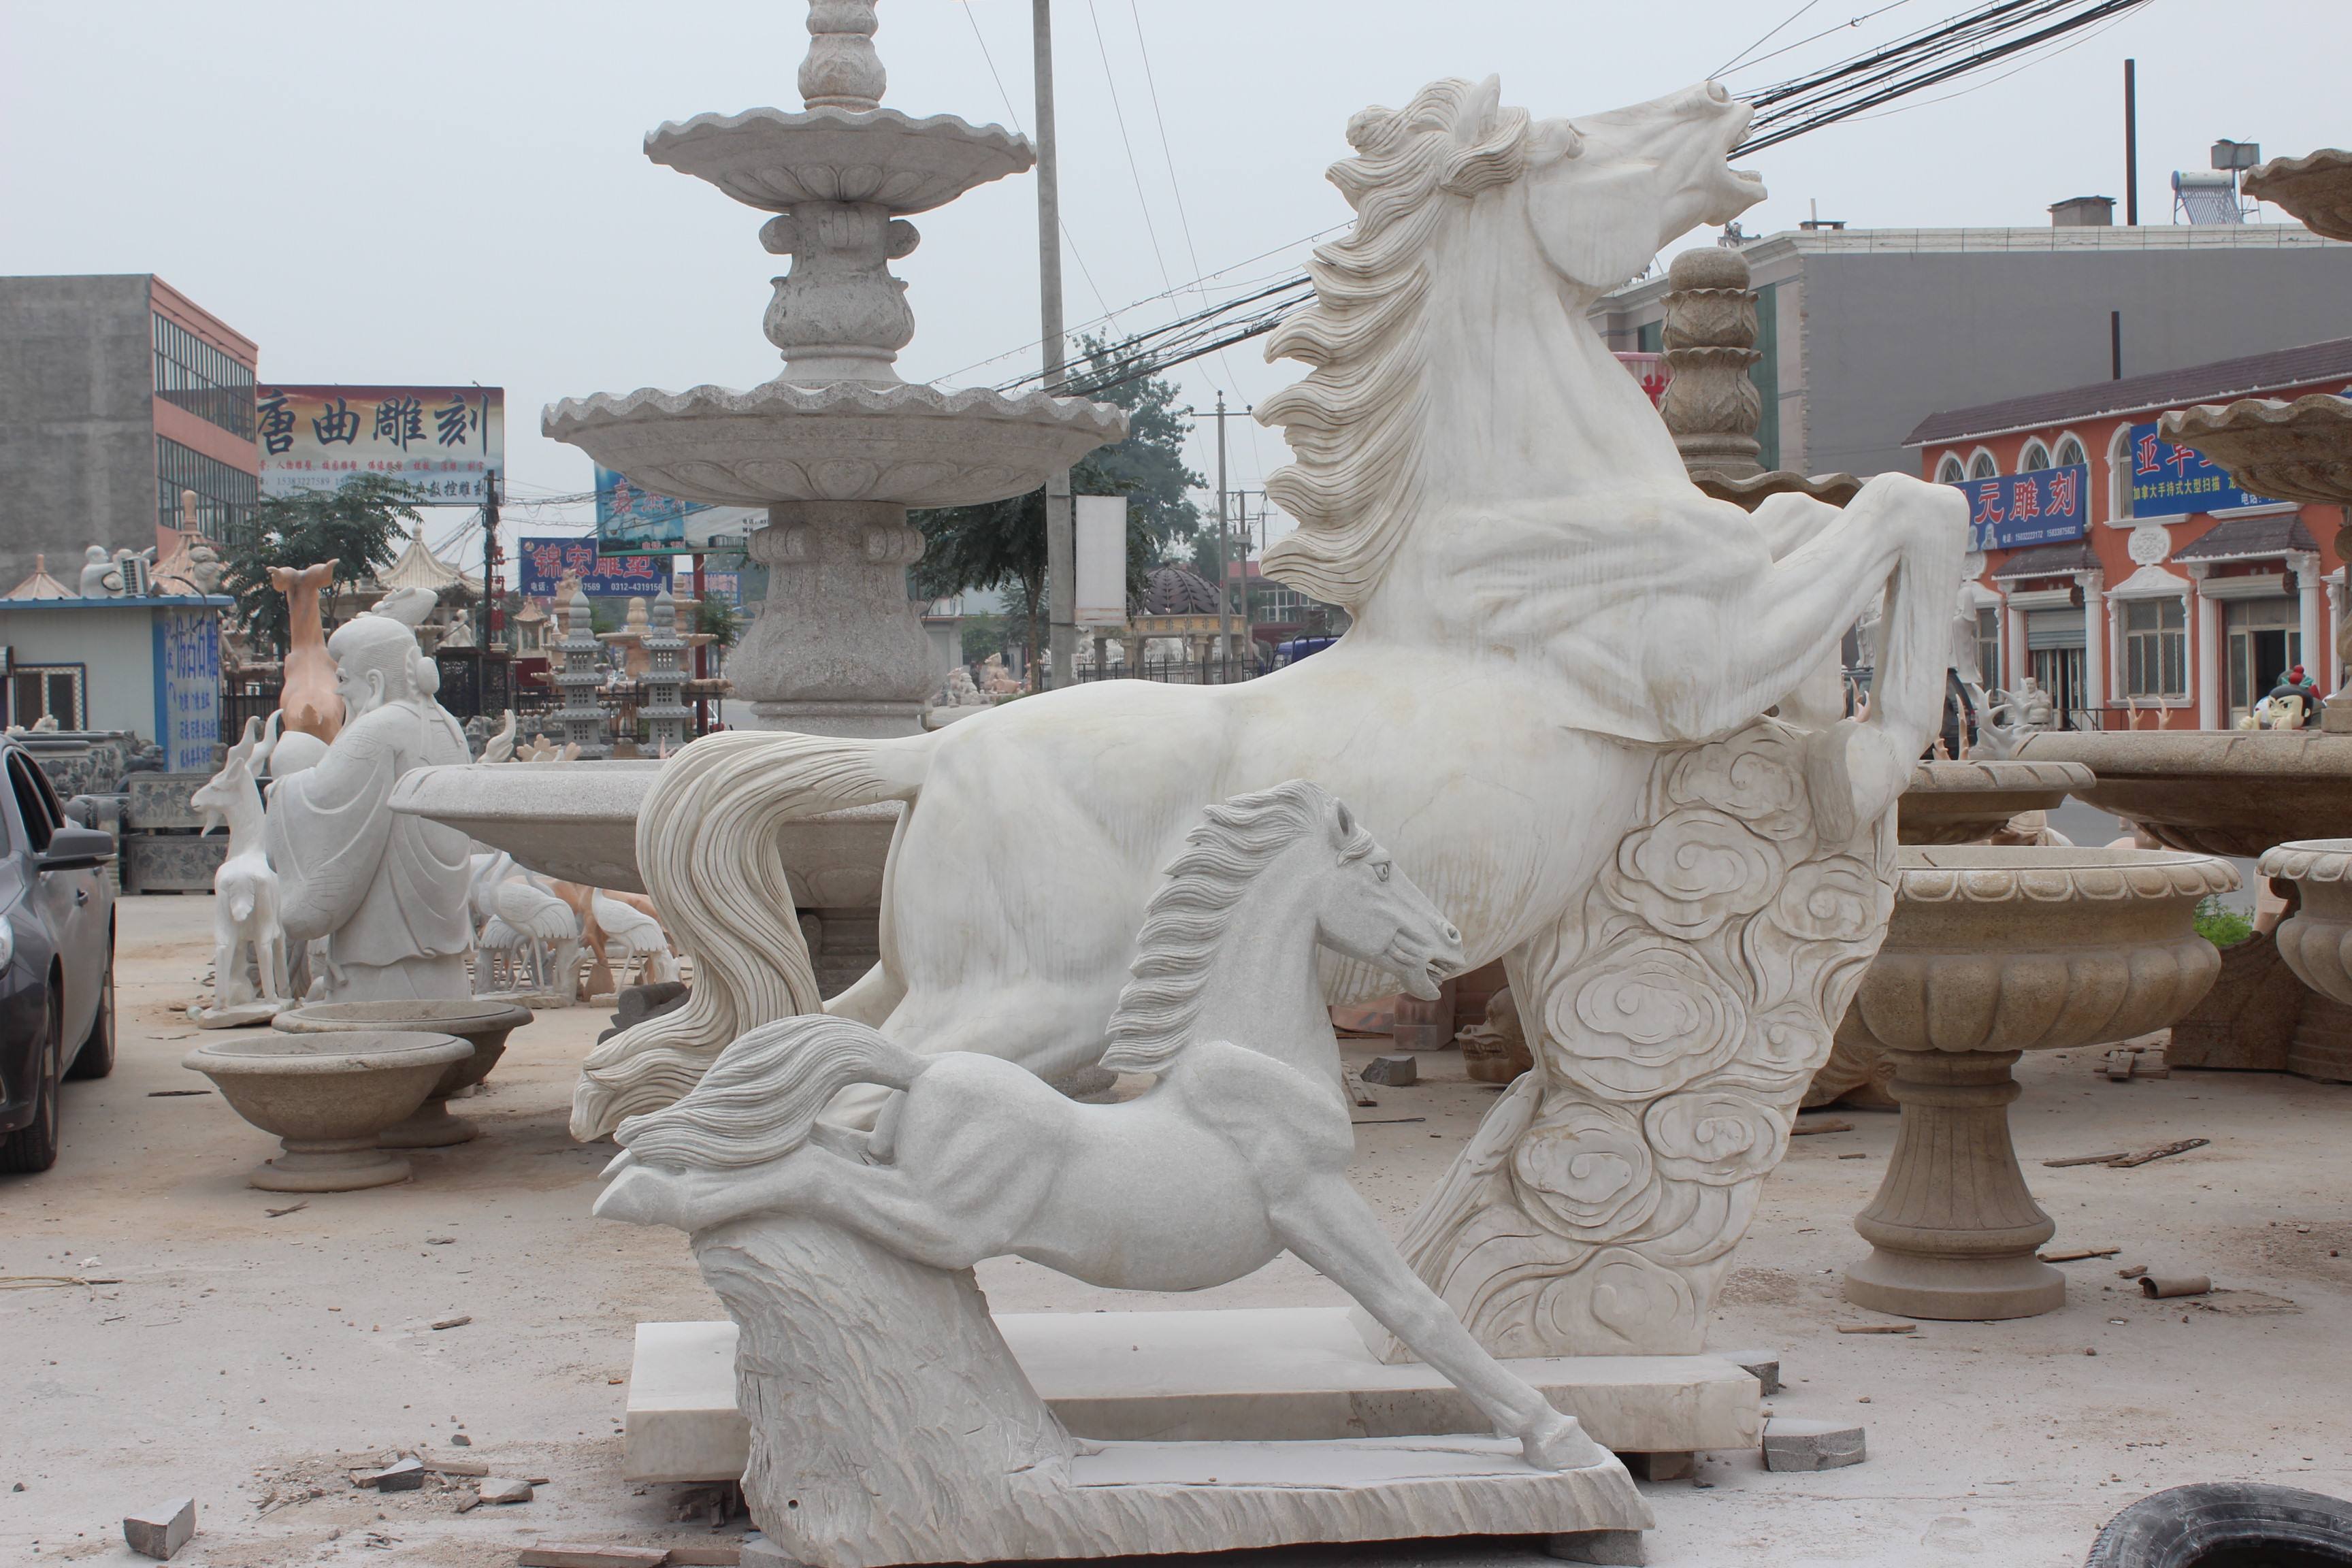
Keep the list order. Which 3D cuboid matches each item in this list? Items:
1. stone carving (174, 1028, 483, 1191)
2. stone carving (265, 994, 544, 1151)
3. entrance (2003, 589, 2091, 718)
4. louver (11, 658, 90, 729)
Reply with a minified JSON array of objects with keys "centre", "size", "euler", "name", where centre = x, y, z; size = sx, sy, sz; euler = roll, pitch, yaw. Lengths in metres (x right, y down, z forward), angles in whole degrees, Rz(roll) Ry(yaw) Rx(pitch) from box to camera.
[{"centre":[-3.607,1.362,14.658],"size":[0.793,0.417,0.815],"euler":[2,0,34],"name":"stone carving"},{"centre":[-3.454,1.260,15.489],"size":[0.763,0.428,0.800],"euler":[-1,-3,16],"name":"stone carving"},{"centre":[9.739,-1.360,37.919],"size":[0.406,1.548,1.240],"euler":[-2,2,-18],"name":"entrance"},{"centre":[-11.183,-0.887,33.737],"size":[0.885,0.972,0.644],"euler":[1,6,-7],"name":"louver"}]
